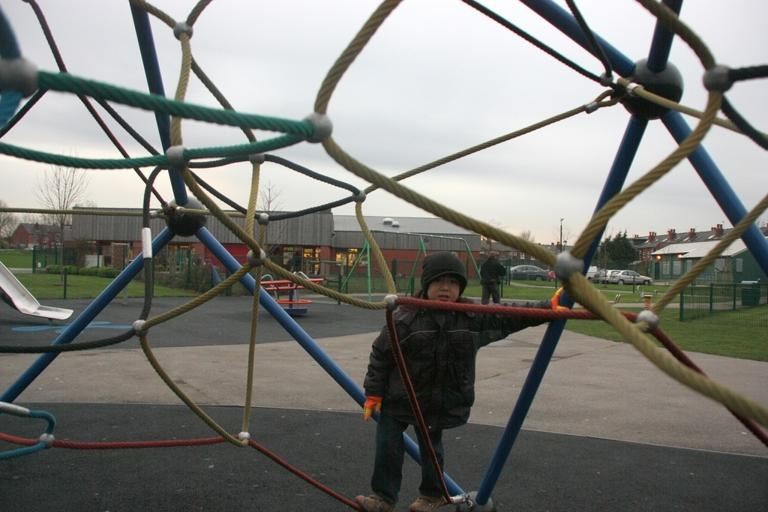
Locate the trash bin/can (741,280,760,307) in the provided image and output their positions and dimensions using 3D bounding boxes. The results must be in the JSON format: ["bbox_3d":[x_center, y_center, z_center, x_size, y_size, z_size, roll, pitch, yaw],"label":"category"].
[{"bbox_3d":[12.005,1.255,19.824,0.531,0.695,1.813,2,2,32],"label":"trash bin/can"}]

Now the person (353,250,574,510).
[{"bbox_3d":[0.452,0.803,4.318,1.184,1.762,1.216,0,-1,-9],"label":"person"}]
